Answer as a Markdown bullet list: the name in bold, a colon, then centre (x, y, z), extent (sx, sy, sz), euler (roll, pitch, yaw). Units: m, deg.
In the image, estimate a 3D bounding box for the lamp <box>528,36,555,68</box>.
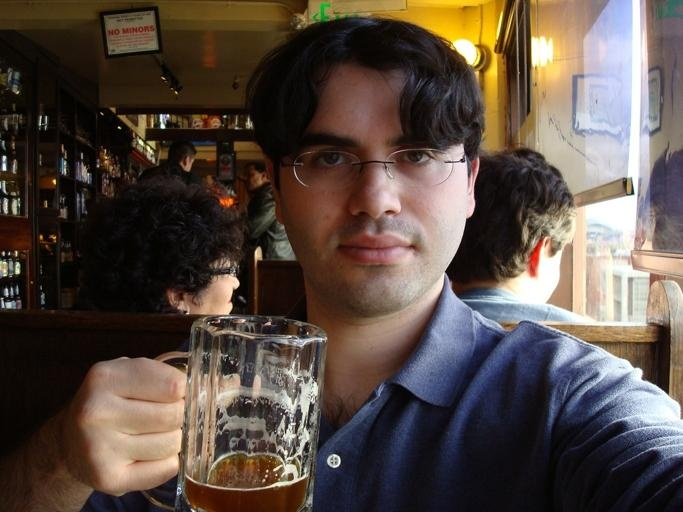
- **lamp**: centre (1.241, -1.263, 3.726), extent (0.046, 0.218, 0.202), euler (0, 8, -15)
